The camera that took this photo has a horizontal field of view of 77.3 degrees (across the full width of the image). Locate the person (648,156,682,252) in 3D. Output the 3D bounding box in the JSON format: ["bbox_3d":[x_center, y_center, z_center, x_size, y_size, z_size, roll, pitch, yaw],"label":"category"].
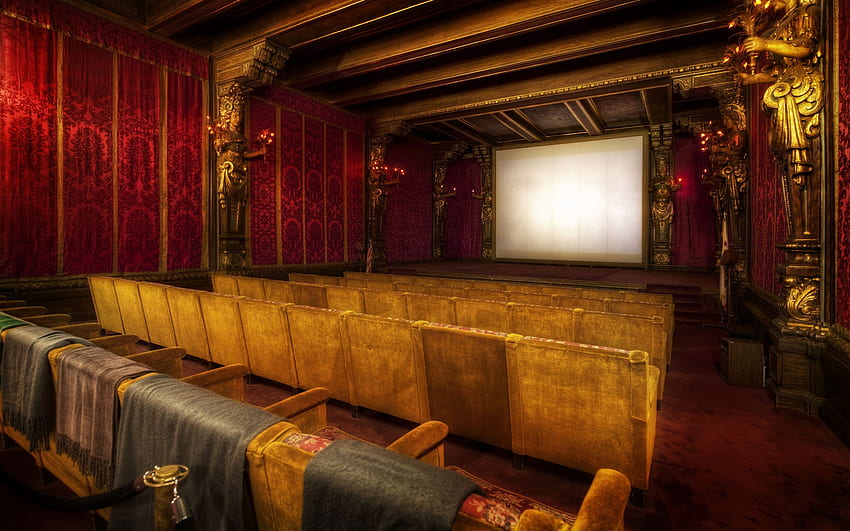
[{"bbox_3d":[6.502,-1.515,14.432,0.742,2.866,0.432,-1,5,21],"label":"person"}]

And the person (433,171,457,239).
[{"bbox_3d":[0.586,-1.963,17.644,0.626,2.390,0.315,-2,5,0],"label":"person"}]

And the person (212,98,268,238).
[{"bbox_3d":[-3.748,-1.904,10.607,1.040,2.612,0.470,-7,6,-44],"label":"person"}]
